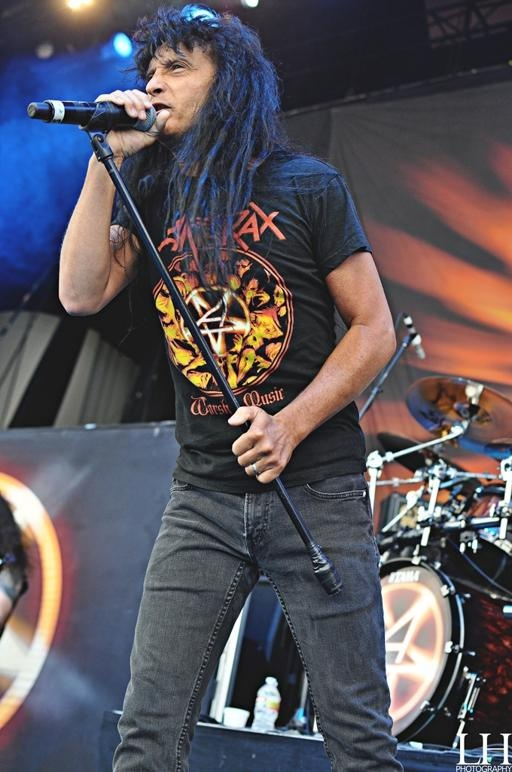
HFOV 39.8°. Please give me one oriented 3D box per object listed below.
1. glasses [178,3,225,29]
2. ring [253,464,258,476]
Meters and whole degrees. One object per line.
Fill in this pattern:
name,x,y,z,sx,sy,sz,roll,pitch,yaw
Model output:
glasses,-0.104,-0.714,1.360,0.068,0.017,0.055,24,37,3
ring,-0.002,0.114,0.971,0.005,0.011,0.009,-6,2,4
